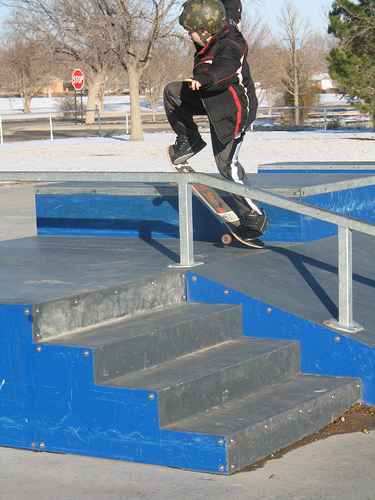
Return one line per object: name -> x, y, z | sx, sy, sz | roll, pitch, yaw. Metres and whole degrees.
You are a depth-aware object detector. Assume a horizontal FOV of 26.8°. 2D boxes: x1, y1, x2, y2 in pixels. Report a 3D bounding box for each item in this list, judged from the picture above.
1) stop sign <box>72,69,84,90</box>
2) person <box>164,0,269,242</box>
stop sign -> -4.945, -7.725, 35.611 | 0.427, 0.899, 1.593 | -5, 9, -8
person -> 0.186, -0.837, 5.138 | 0.656, 1.614, 1.120 | -3, 10, -1
